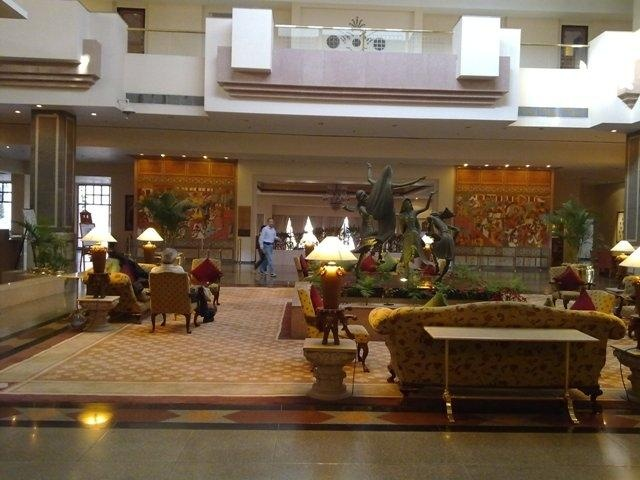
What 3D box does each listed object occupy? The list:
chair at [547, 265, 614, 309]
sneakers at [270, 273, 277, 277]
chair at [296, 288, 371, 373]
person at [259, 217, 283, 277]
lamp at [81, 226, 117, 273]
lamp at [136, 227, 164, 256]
[{"bbox_3d":[5.142,1.035,10.804,0.738,0.923,0.841,2,2,16],"label":"chair"},{"bbox_3d":[-1.468,1.061,16.268,0.086,0.098,0.233,-1,-6,1],"label":"sneakers"},{"bbox_3d":[0.156,1.164,6.826,1.055,1.306,0.998,-1,-1,0],"label":"chair"},{"bbox_3d":[-1.610,0.233,16.187,0.487,1.802,1.443,1,5,-6],"label":"person"},{"bbox_3d":[-3.986,0.093,9.526,0.647,0.686,0.669,-2,-15,-10],"label":"lamp"},{"bbox_3d":[-4.708,0.013,14.672,0.939,0.899,0.918,-3,6,-33],"label":"lamp"}]
